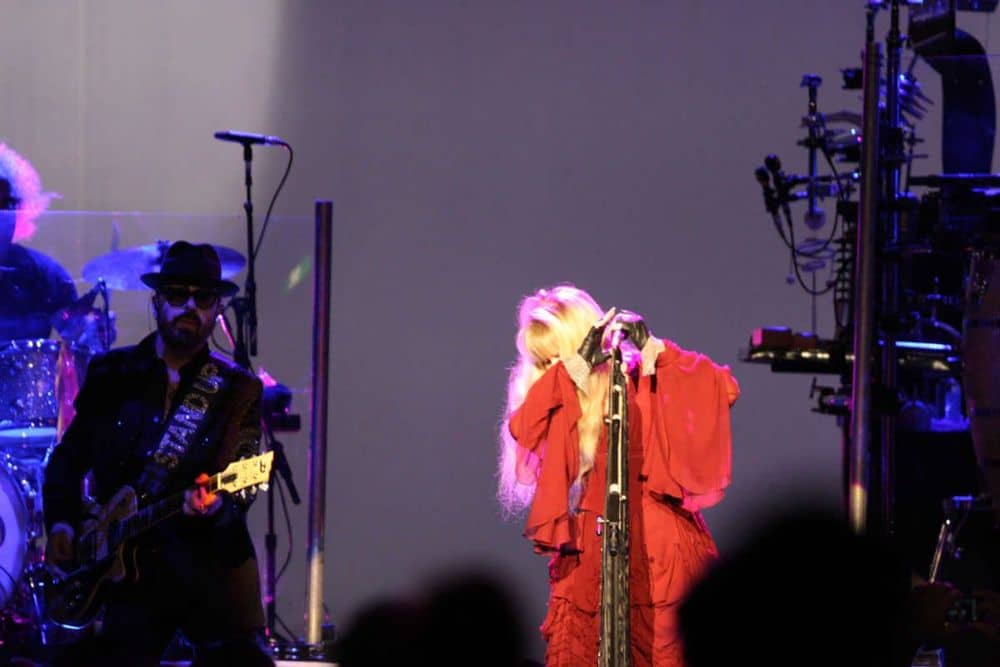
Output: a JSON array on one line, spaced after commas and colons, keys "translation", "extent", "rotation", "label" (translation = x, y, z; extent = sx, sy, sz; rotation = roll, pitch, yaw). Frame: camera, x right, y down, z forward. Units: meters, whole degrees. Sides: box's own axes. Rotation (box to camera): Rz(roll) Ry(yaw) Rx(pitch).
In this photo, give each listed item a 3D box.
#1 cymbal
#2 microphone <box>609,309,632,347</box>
[{"translation": [-1.951, -0.437, 9.766], "extent": [0.902, 0.223, 0.944], "rotation": [10, 6, -13], "label": "cymbal"}, {"translation": [0.630, -0.015, 8.525], "extent": [0.104, 0.188, 0.047], "rotation": [31, 8, 39], "label": "microphone"}]
